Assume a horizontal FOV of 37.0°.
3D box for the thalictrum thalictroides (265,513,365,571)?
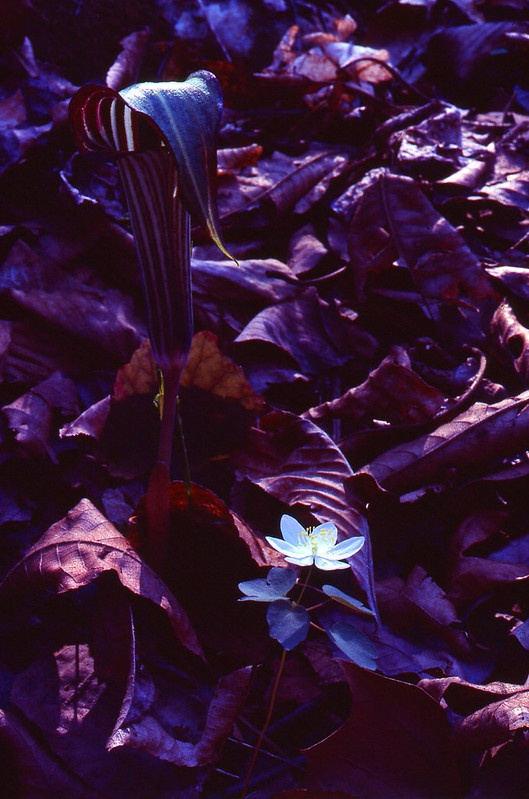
[{"bbox_3d":[0.103,0.296,1.615,0.167,0.063,0.156,19,1,6],"label":"thalictrum thalictroides"}]
